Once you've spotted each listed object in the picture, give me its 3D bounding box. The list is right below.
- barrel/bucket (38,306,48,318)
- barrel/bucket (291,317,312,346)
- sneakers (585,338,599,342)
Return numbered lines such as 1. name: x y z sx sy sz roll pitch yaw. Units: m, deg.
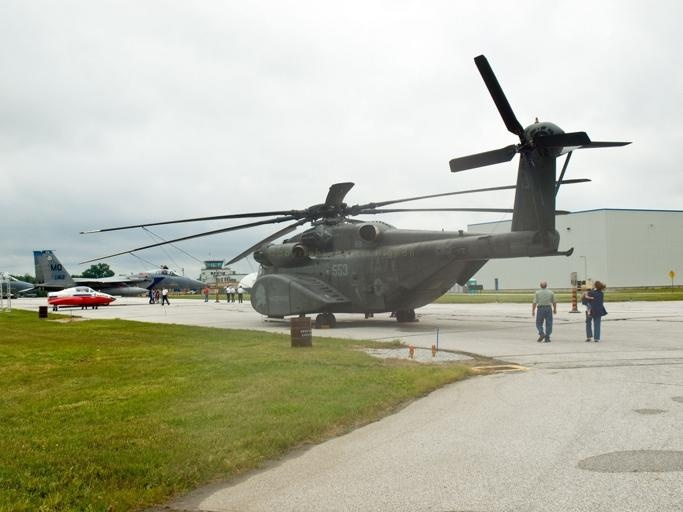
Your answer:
1. barrel/bucket: -15.154 2.873 29.452 0.355 0.563 1.021 0 -3 -29
2. barrel/bucket: -1.112 2.130 16.091 0.549 0.815 0.366 -1 -2 -9
3. sneakers: 7.334 2.466 16.920 0.352 0.124 0.103 2 2 18
